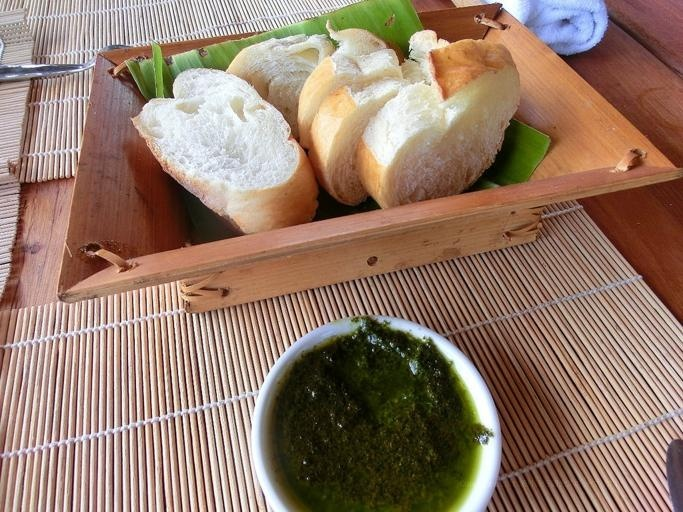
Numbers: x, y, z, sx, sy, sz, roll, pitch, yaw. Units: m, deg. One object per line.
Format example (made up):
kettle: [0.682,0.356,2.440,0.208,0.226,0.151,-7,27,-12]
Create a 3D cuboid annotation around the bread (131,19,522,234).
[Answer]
bread: [-0.025,-0.194,1.105,0.632,0.240,0.404,-13,58,-7]
